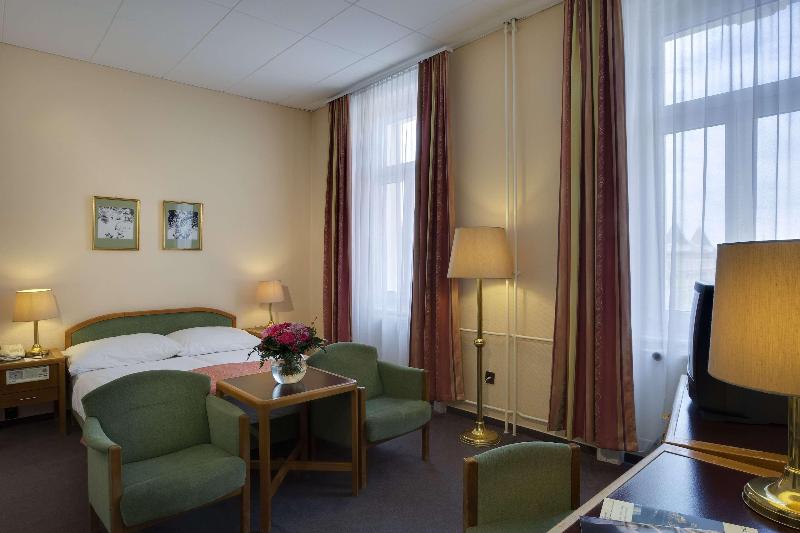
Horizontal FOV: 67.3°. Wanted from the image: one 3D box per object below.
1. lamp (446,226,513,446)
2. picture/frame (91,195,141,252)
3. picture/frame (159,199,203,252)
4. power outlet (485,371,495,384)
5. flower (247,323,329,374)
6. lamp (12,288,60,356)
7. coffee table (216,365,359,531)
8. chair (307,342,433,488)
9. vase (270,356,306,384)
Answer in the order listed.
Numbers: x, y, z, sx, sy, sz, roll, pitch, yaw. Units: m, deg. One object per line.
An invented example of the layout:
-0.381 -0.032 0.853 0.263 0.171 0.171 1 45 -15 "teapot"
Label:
0.765 0.636 5.876 0.596 2.067 0.813 2 13 12 "lamp"
-3.275 -0.501 6.835 0.581 0.807 0.032 4 -5 -41 "picture/frame"
-2.675 -0.507 7.232 0.035 0.828 0.595 -1 -2 43 "picture/frame"
0.927 1.134 6.171 0.017 0.130 0.128 2 -5 -36 "power outlet"
-0.968 0.642 5.189 0.455 0.332 0.474 -2 6 -6 "flower"
-3.812 0.574 6.288 0.402 0.692 0.431 -9 16 -32 "lamp"
-1.007 1.428 5.297 1.108 1.247 1.126 1 -2 -34 "coffee table"
-0.254 1.250 5.706 1.079 1.280 1.075 -3 -2 43 "chair"
-0.949 0.848 5.030 0.219 0.142 0.227 0 -2 16 "vase"
